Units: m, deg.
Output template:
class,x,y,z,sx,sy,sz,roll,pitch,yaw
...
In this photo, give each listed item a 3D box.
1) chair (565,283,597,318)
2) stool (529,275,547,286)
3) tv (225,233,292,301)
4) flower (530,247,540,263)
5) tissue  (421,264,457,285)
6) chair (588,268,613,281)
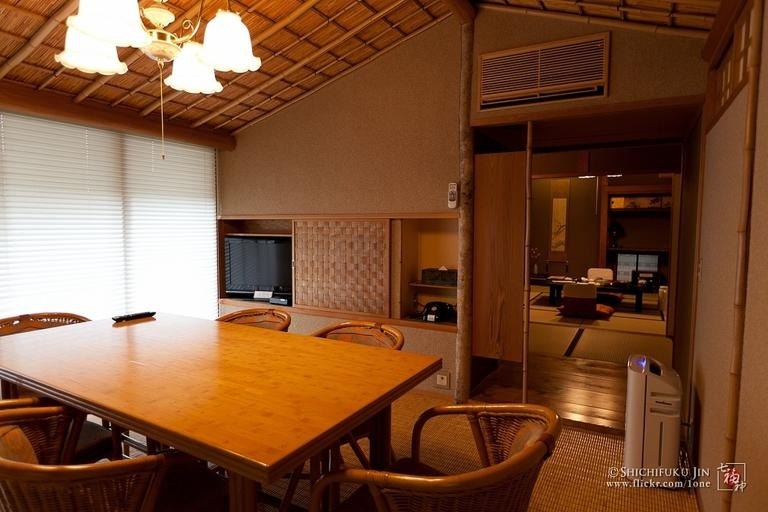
class,x,y,z,sx,sy,sz,roll,pitch,yaw
chair,2.756,0.628,7.159,0.450,0.548,0.213,7,14,24
stool,2.473,0.406,8.126,0.244,0.174,0.493,4,11,14
tv,-1.525,0.152,6.038,0.118,0.719,1.130,-2,-2,32
flower,2.452,-0.016,8.214,0.144,0.216,0.257,6,13,21
tissue ,0.559,0.195,5.130,0.403,0.167,0.267,5,12,19
chair,3.253,0.296,7.678,0.226,0.287,0.255,-4,-9,37
